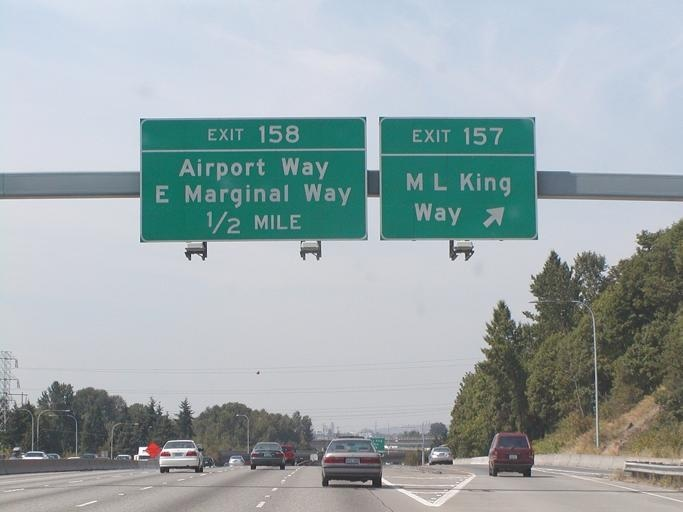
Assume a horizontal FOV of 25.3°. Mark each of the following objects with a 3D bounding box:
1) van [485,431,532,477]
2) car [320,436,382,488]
[{"bbox_3d":[13.164,15.455,118.479,3.205,3.364,1.113,-2,-9,13],"label":"van"},{"bbox_3d":[0.817,14.646,111.152,2.859,4.219,7.624,0,-13,-2],"label":"car"}]
